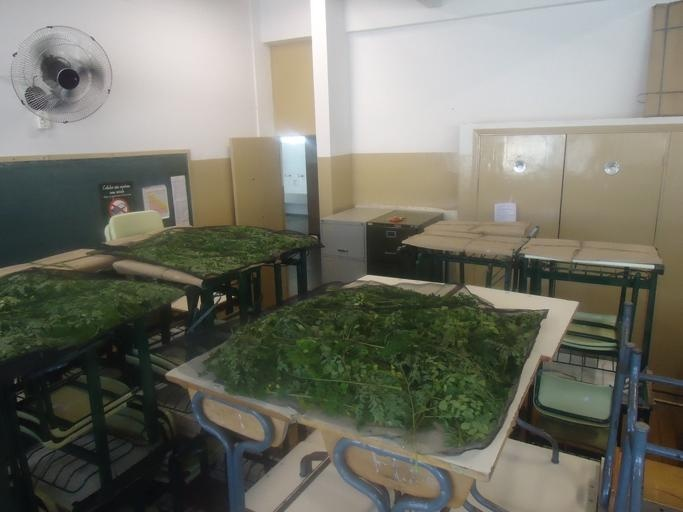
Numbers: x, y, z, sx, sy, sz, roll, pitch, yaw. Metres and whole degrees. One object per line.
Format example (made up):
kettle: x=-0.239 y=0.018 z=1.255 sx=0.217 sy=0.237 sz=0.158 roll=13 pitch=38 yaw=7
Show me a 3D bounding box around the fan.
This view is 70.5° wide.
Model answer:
fan: x=-2.349 y=-1.510 z=4.108 sx=0.250 sy=0.680 sz=0.683 roll=33 pitch=0 yaw=25
